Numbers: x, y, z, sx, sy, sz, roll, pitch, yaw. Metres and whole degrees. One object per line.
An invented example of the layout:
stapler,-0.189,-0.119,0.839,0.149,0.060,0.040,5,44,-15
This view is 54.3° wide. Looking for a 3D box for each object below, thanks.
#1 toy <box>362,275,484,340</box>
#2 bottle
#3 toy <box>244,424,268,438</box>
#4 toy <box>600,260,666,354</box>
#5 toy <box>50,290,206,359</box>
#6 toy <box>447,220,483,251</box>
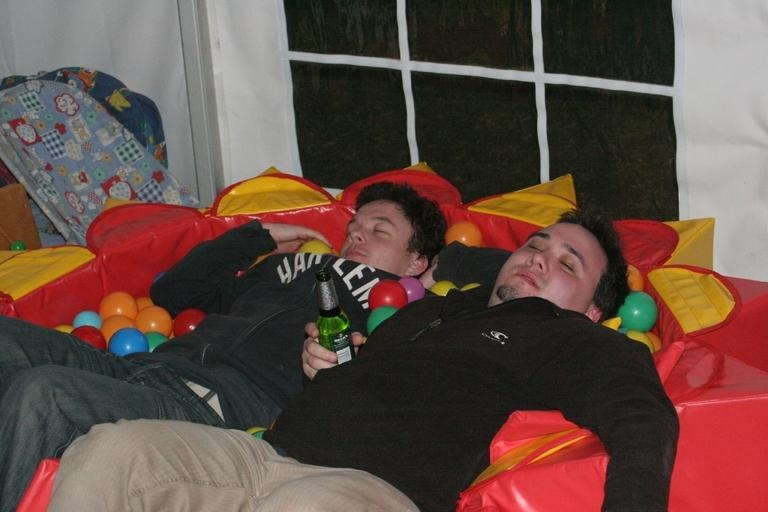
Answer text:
toy,0.126,0.245,3.675,0.344,0.108,0.336,1,28,8
bottle,-0.211,0.273,3.130,0.122,0.467,0.117,-7,43,7
toy,-0.520,0.727,3.098,0.070,0.052,0.094,-3,-4,1
toy,1.218,0.254,3.739,0.230,0.227,0.585,1,47,3
toy,-1.305,0.339,3.799,0.419,0.117,0.432,13,19,34
toy,0.453,-0.119,4.157,0.180,0.151,0.156,1,-40,-9
